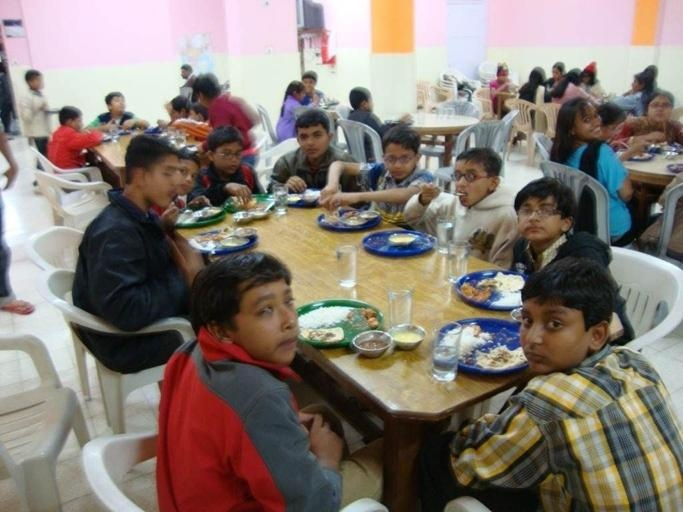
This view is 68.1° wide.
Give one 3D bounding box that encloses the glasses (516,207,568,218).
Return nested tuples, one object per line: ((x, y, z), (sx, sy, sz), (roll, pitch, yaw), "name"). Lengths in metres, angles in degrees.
((0.850, -0.189, 2.179), (0.162, 0.051, 0.057), (8, 23, 25), "glasses")

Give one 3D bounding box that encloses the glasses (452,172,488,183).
((0.684, -0.423, 2.708), (0.192, 0.072, 0.077), (12, 24, 32), "glasses")
